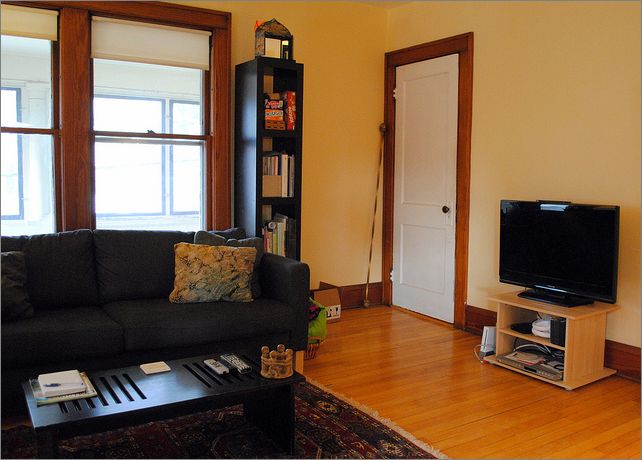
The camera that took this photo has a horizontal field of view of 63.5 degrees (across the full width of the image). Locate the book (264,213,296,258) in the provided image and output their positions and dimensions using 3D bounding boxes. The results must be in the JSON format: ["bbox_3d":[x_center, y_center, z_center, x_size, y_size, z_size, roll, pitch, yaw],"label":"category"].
[{"bbox_3d":[-0.371,0.074,4.825,0.379,0.432,0.335,-2,5,-37],"label":"book"}]

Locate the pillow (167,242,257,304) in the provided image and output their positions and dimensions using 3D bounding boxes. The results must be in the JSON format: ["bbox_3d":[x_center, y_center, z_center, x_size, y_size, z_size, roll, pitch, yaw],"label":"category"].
[{"bbox_3d":[-0.812,0.329,3.814,0.443,0.291,0.161,-2,8,-5],"label":"pillow"}]

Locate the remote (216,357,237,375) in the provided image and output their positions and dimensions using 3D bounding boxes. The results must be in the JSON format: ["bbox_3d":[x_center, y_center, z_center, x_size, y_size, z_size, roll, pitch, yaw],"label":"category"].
[{"bbox_3d":[-0.534,0.782,2.985,0.038,0.017,0.224,-14,19,-22],"label":"remote"}]

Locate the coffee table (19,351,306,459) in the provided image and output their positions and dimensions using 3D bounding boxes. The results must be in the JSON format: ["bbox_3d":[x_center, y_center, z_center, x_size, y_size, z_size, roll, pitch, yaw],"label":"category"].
[{"bbox_3d":[-0.822,1.050,2.854,1.384,0.504,0.487,-5,15,-26],"label":"coffee table"}]

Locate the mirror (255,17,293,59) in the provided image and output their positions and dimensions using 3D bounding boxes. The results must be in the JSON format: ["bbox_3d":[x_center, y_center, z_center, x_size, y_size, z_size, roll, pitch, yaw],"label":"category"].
[{"bbox_3d":[-0.419,-1.707,4.642,0.334,0.349,0.281,0,14,-7],"label":"mirror"}]

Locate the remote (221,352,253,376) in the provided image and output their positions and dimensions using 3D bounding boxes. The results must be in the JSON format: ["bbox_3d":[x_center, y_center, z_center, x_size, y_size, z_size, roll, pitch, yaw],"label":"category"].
[{"bbox_3d":[-0.500,0.775,3.033,0.074,0.029,0.219,1,9,-27],"label":"remote"}]

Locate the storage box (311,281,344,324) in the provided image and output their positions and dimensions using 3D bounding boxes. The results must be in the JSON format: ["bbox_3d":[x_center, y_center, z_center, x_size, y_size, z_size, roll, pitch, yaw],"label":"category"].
[{"bbox_3d":[0.083,0.737,5.294,0.364,0.336,0.335,-3,8,-25],"label":"storage box"}]

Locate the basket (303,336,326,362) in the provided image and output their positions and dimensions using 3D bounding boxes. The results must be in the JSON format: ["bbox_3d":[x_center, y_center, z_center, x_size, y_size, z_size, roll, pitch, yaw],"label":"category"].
[{"bbox_3d":[-0.067,0.968,4.243,0.198,0.138,0.186,0,0,29],"label":"basket"}]

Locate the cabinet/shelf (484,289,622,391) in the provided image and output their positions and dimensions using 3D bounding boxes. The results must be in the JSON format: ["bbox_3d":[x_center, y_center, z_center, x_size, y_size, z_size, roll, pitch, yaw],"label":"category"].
[{"bbox_3d":[1.845,0.740,4.128,0.725,0.573,0.815,-3,5,-34],"label":"cabinet/shelf"}]
